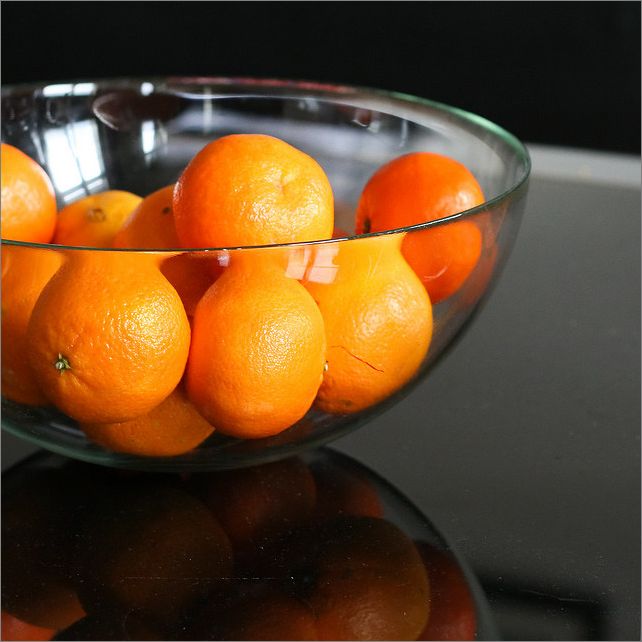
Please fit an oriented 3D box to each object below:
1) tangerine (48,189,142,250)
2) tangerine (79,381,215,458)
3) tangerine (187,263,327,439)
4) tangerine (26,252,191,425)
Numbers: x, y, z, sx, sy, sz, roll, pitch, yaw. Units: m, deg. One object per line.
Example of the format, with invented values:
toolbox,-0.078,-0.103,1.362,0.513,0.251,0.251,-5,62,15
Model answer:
tangerine,-0.184,-0.074,0.615,0.065,0.074,0.050,8,78,-16
tangerine,-0.096,0.053,0.415,0.067,0.044,0.026,-2,92,12
tangerine,-0.034,0.014,0.385,0.069,0.089,0.056,-2,55,-7
tangerine,-0.100,0.007,0.370,0.104,0.084,0.084,-1,91,-1
